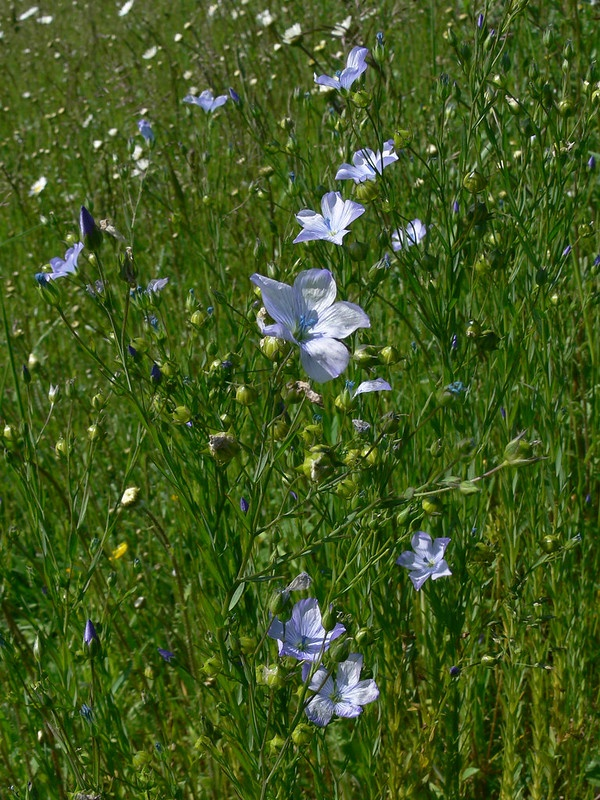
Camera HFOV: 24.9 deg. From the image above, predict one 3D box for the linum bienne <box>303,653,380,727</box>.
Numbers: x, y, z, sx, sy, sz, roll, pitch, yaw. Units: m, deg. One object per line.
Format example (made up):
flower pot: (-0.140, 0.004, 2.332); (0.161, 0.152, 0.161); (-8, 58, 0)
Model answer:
linum bienne: (0.087, 0.620, 2.984); (0.109, 0.085, 0.185); (-1, 58, 5)

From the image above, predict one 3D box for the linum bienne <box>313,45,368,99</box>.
linum bienne: (0.098, -0.817, 3.282); (0.059, 0.134, 0.118); (34, 36, 15)

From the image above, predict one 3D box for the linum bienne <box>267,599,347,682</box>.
linum bienne: (-0.005, 0.504, 2.947); (0.132, 0.095, 0.171); (23, 18, -5)

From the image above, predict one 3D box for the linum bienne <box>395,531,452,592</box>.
linum bienne: (0.287, 0.375, 3.117); (0.128, 0.057, 0.142); (13, 58, 26)

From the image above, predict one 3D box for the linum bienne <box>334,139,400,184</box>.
linum bienne: (0.165, -0.574, 3.340); (0.117, 0.076, 0.142); (0, 48, 53)
